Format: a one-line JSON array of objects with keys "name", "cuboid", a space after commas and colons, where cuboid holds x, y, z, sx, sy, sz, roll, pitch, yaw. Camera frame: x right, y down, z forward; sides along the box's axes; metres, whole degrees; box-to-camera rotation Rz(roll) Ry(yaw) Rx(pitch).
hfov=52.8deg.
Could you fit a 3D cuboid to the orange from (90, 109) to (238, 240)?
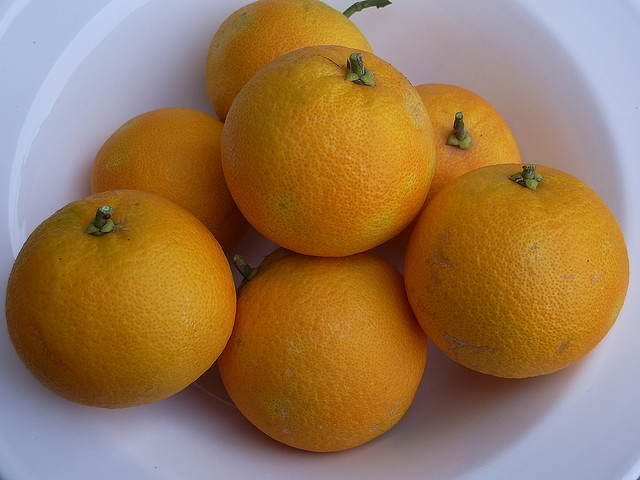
[{"name": "orange", "cuboid": [-0.237, -0.145, 1.023, 0.199, 0.210, 0.186, -11, 24, -29]}]
